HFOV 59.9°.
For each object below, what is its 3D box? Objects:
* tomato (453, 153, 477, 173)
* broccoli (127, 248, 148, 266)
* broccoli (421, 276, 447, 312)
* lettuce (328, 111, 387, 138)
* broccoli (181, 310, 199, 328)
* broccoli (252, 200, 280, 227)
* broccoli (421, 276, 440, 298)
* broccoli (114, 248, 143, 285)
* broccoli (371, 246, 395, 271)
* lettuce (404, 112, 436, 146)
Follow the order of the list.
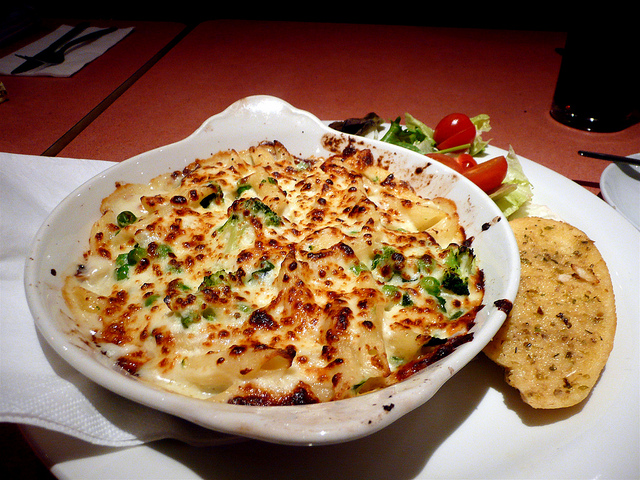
[{"bbox_3d":[1.181,-0.640,4.550,0.168,0.062,0.203,-1,47,1],"label":"tomato"},{"bbox_3d":[-1.092,0.092,3.324,0.085,0.042,0.107,24,82,12],"label":"broccoli"},{"bbox_3d":[0.642,0.280,3.123,0.090,0.096,0.215,-10,53,-22],"label":"broccoli"},{"bbox_3d":[0.321,-1.011,4.680,0.608,0.430,0.250,1,105,3],"label":"lettuce"},{"bbox_3d":[-0.708,0.428,3.016,0.074,0.025,0.094,24,87,-8],"label":"broccoli"},{"bbox_3d":[-0.333,-0.159,3.409,0.123,0.044,0.186,-27,75,-31],"label":"broccoli"},{"bbox_3d":[0.619,0.264,3.179,0.090,0.062,0.109,-28,70,-17],"label":"broccoli"},{"bbox_3d":[-1.134,0.156,3.364,0.163,0.056,0.210,10,70,23],"label":"broccoli"},{"bbox_3d":[0.361,0.095,3.250,0.052,0.107,0.140,31,86,-7],"label":"broccoli"},{"bbox_3d":[0.895,-0.975,4.956,0.328,0.097,0.211,38,113,-9],"label":"lettuce"}]
